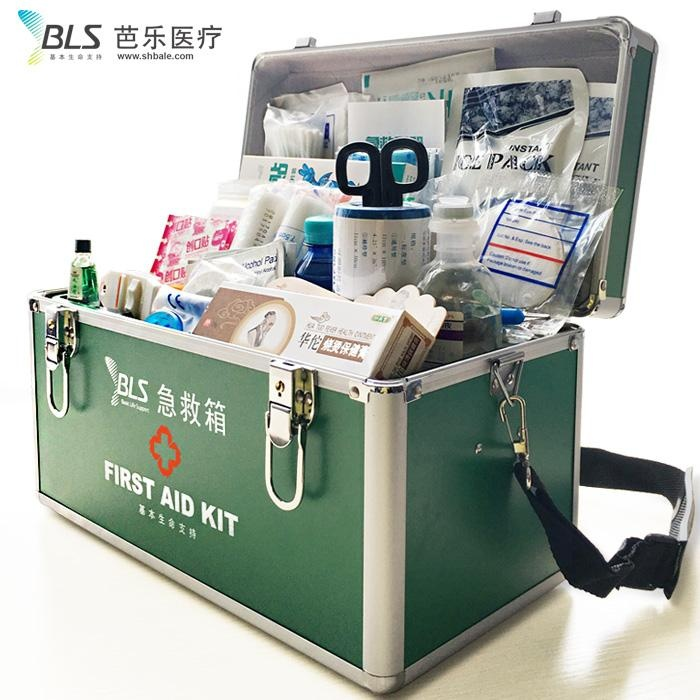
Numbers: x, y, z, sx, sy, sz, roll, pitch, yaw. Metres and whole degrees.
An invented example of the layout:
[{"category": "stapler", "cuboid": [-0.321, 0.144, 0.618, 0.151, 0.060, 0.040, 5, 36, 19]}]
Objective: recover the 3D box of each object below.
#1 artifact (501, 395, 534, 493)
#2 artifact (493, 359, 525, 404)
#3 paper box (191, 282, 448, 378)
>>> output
[{"category": "artifact", "cuboid": [0.229, 0.136, 0.921, 0.039, 0.147, 0.035, 1, -11, -27]}, {"category": "artifact", "cuboid": [0.206, 0.041, 0.879, 0.017, 0.059, 0.050, -3, 7, 40]}, {"category": "paper box", "cuboid": [-0.043, -0.035, 0.894, 0.346, 0.098, 0.177, 10, 15, 43]}]
